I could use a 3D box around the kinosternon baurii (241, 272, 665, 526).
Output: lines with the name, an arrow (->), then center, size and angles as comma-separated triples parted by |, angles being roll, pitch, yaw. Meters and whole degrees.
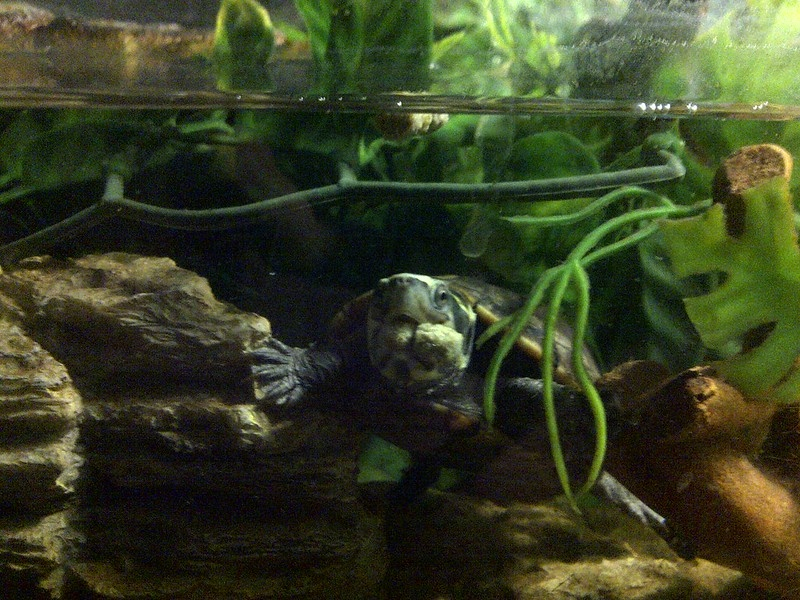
kinosternon baurii -> 0.082, 0.200, 3.819 | 0.705, 0.284, 0.916 | 4, -17, 31
